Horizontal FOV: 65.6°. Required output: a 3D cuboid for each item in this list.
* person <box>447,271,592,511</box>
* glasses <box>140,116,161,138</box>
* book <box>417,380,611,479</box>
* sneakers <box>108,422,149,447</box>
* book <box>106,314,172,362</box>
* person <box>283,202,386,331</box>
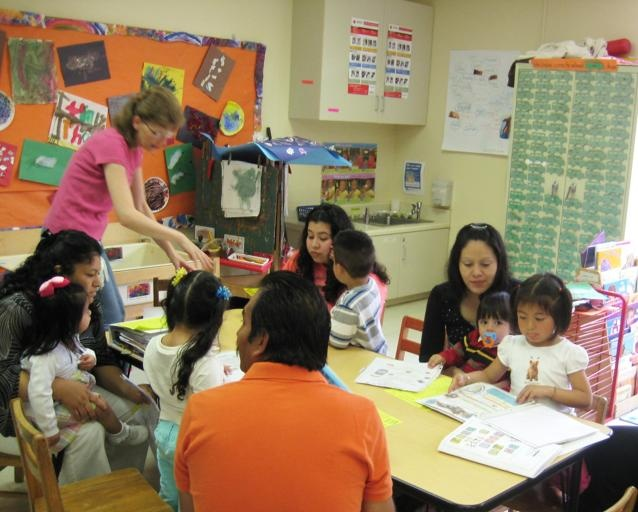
[{"bbox_3d":[0.803,0.501,2.002,0.461,0.799,0.395,10,19,30],"label":"person"},{"bbox_3d":[-0.817,-0.617,2.428,0.085,0.071,0.043,-5,15,-20],"label":"glasses"},{"bbox_3d":[0.633,0.573,1.617,0.334,0.040,0.327,-9,11,-42],"label":"book"},{"bbox_3d":[-0.788,0.742,2.079,0.065,0.093,0.154,-26,-21,33],"label":"sneakers"},{"bbox_3d":[-0.794,0.359,2.176,0.252,0.096,0.265,8,15,37],"label":"book"},{"bbox_3d":[0.026,0.084,2.997,0.665,1.021,0.339,-5,41,-7],"label":"person"}]
